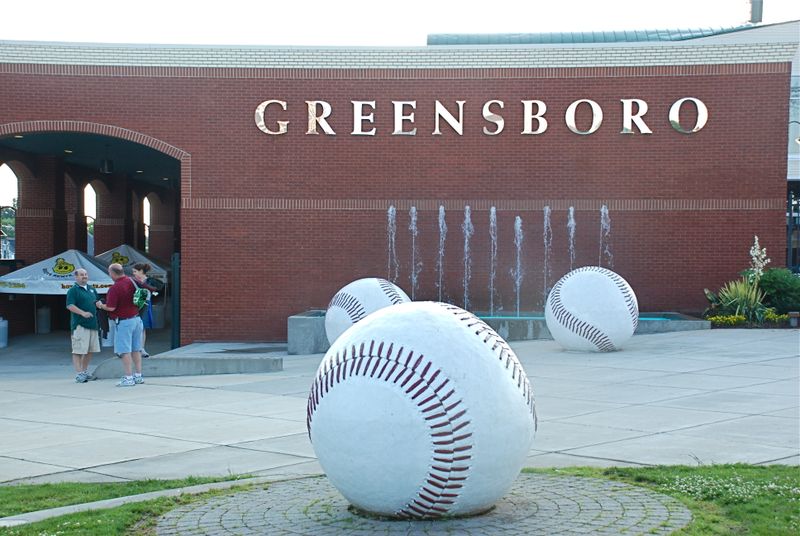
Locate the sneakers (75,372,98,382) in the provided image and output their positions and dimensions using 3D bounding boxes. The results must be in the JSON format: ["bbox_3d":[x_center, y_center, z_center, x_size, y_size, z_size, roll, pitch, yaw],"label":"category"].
[{"bbox_3d":[-7.398,2.537,28.709,0.508,0.192,0.168,0,9,-7],"label":"sneakers"}]

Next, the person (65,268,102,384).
[{"bbox_3d":[-7.270,1.271,28.571,0.994,2.632,1.089,-3,0,25],"label":"person"}]

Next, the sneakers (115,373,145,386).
[{"bbox_3d":[-6.203,2.548,28.066,0.715,0.270,0.224,1,7,2],"label":"sneakers"}]

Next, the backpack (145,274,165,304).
[{"bbox_3d":[-8.127,0.608,40.222,0.862,0.992,0.429,2,-10,-6],"label":"backpack"}]
